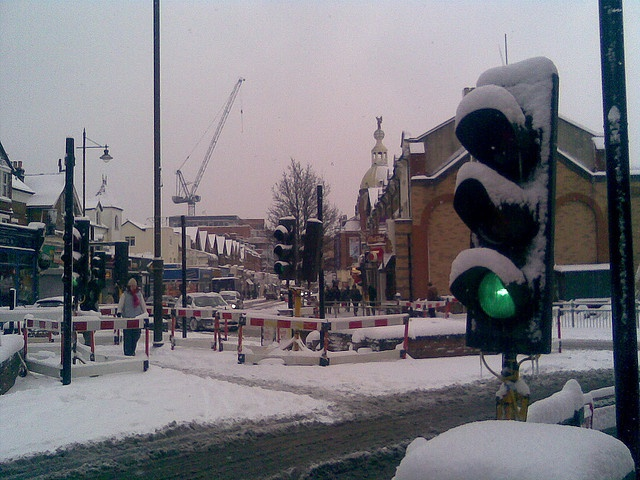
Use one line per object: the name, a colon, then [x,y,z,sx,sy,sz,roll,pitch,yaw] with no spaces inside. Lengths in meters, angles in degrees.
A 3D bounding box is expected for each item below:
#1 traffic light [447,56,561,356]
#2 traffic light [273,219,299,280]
traffic light: [2.100,-0.379,9.813,1.173,3.299,0.465,-2,-6,11]
traffic light: [-0.744,0.116,19.170,0.514,1.431,1.012,0,-7,-3]
